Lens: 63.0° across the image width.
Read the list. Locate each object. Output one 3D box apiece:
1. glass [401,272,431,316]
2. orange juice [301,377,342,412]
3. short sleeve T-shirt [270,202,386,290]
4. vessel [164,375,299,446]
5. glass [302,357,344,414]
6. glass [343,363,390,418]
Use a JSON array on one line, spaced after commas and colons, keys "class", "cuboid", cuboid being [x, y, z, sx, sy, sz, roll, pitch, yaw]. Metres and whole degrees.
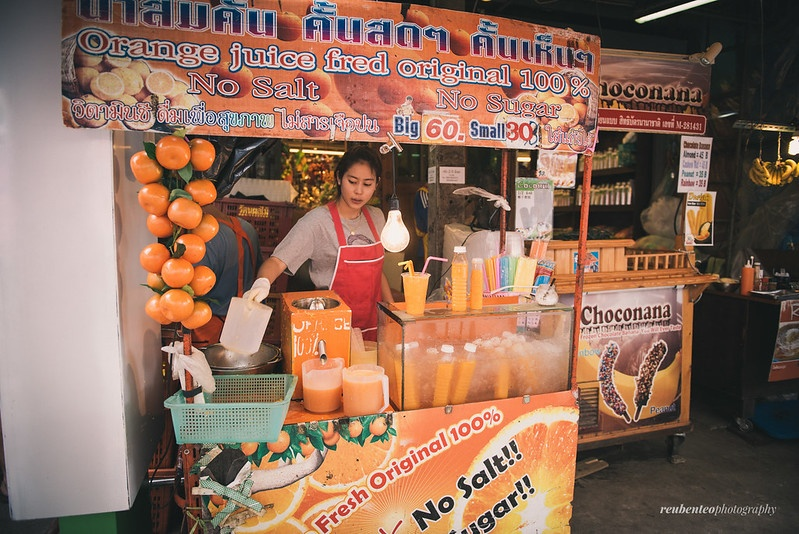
[{"class": "glass", "cuboid": [0.098, 0.179, 4.464, 0.255, 0.319, 0.247, 3, 6, 18]}, {"class": "orange juice", "cuboid": [-0.532, 0.869, 4.367, 0.227, 0.222, 0.223, 1, 4, -1]}, {"class": "short sleeve T-shirt", "cuboid": [-0.475, -0.071, 5.891, 1.516, 0.878, 0.486, -1, 9, -38]}, {"class": "vessel", "cuboid": [-1.079, 0.912, 4.191, 0.699, 0.262, 0.485, 0, 3, -3]}, {"class": "glass", "cuboid": [-0.525, 0.805, 4.394, 0.264, 0.321, 0.356, 0, -1, 36]}, {"class": "glass", "cuboid": [-0.237, 0.831, 4.397, 0.329, 0.298, 0.267, 2, 2, 38]}]
